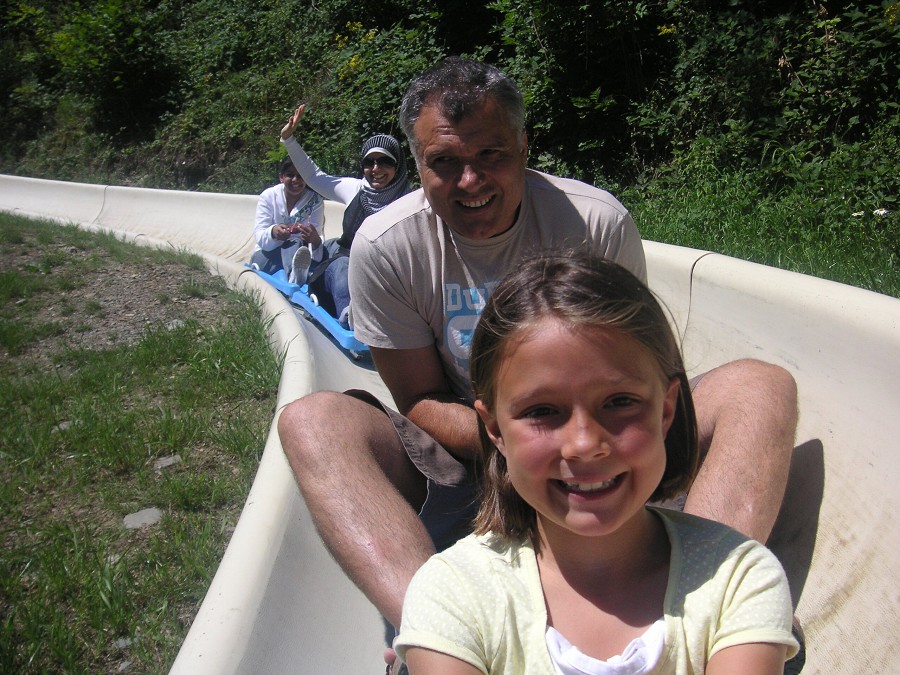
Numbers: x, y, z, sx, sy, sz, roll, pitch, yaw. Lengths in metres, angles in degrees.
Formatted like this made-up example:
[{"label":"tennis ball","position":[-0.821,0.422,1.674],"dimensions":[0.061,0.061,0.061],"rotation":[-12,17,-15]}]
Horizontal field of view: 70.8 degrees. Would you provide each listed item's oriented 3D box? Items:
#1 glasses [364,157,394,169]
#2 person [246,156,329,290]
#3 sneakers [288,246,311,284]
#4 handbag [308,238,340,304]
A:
[{"label":"glasses","position":[-0.535,-1.328,4.793],"dimensions":[0.107,0.050,0.125],"rotation":[0,5,8]},{"label":"person","position":[-1.482,-1.080,5.872],"dimensions":[0.517,1.325,1.171],"rotation":[2,1,-26]},{"label":"sneakers","position":[-1.163,-0.555,4.946],"dimensions":[0.108,0.396,0.134],"rotation":[2,18,-29]},{"label":"handbag","position":[-0.862,-0.438,4.298],"dimensions":[0.143,0.547,0.200],"rotation":[-3,21,-30]}]
